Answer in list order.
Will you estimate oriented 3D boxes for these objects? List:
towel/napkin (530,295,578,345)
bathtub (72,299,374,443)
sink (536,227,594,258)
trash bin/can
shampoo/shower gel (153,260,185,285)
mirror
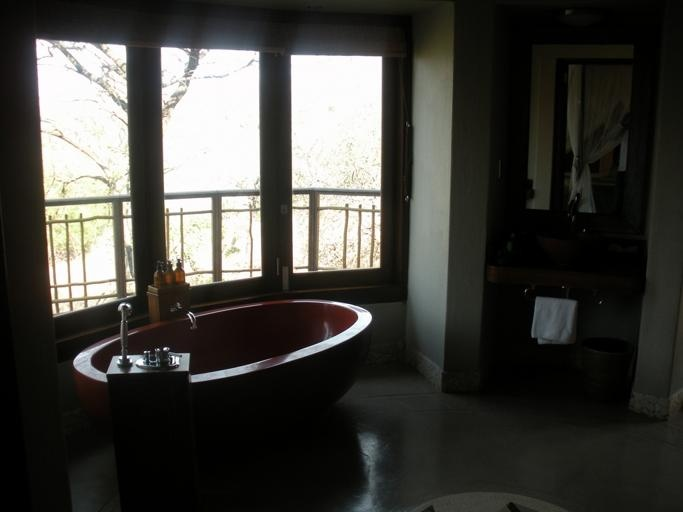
[{"bbox_3d":[1.437,0.432,3.844,0.292,0.323,0.112,9,4,26],"label":"towel/napkin"},{"bbox_3d":[-0.461,0.656,3.553,1.305,0.547,0.933,-10,12,-40],"label":"bathtub"},{"bbox_3d":[1.491,-0.085,3.869,0.246,0.150,0.258,-1,2,-1],"label":"sink"},{"bbox_3d":[1.797,0.803,3.925,0.378,0.365,0.360,0,4,20],"label":"trash bin/can"},{"bbox_3d":[-1.121,0.110,3.666,0.145,0.168,0.055,2,-4,-40],"label":"shampoo/shower gel"},{"bbox_3d":[1.647,-0.850,3.948,0.828,1.643,0.073,6,-25,20],"label":"mirror"}]
